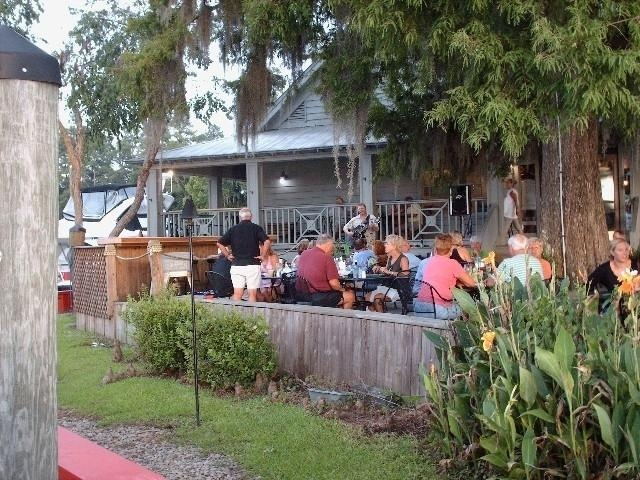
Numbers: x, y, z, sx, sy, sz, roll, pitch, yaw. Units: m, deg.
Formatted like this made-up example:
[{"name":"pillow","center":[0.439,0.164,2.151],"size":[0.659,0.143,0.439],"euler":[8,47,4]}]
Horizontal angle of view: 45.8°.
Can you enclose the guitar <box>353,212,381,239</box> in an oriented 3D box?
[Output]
[{"name":"guitar","center":[0.889,-0.248,14.703],"size":[0.622,0.451,0.409],"euler":[-10,9,-17]}]

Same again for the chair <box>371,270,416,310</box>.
[{"name":"chair","center":[0.957,0.644,9.381],"size":[0.419,0.664,0.447],"euler":[10,-12,-34]}]

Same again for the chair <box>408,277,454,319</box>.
[{"name":"chair","center":[1.161,0.631,7.963],"size":[0.280,0.559,0.433],"euler":[1,-3,-35]}]

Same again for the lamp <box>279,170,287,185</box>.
[{"name":"lamp","center":[-0.999,-1.611,19.905],"size":[0.182,0.496,0.287],"euler":[0,-2,28]}]

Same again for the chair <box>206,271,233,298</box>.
[{"name":"chair","center":[-1.393,0.617,10.532],"size":[0.311,0.401,0.316],"euler":[-1,2,-2]}]
